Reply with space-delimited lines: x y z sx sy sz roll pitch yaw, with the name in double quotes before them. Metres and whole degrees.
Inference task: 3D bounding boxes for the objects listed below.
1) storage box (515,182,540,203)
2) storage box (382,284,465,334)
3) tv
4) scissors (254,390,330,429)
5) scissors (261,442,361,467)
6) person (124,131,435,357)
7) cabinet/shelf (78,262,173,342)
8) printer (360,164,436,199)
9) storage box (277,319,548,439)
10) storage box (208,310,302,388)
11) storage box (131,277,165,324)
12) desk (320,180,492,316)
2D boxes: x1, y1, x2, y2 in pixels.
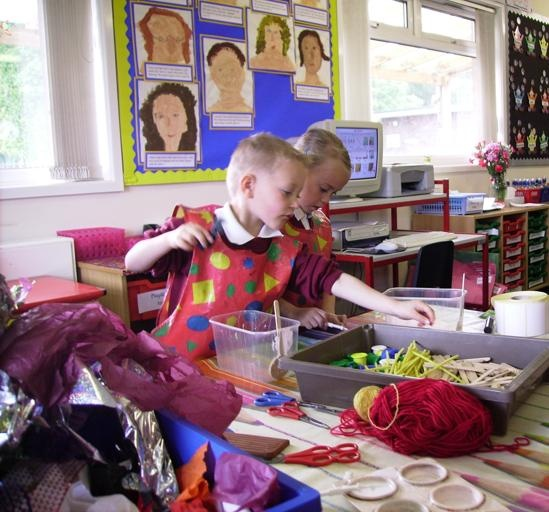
"storage box" 2.545 -0.649 4.318 0.281 0.172 0.209 -11 16 -30
"storage box" 0.417 0.144 1.182 0.186 0.065 0.125 1 8 17
"tv" 0.392 -0.628 2.877 0.508 0.522 0.544 -2 12 -3
"scissors" 0.026 0.274 0.800 0.046 0.010 0.122 -12 16 -40
"scissors" 0.070 0.297 0.636 0.077 0.005 0.043 -4 5 -18
"person" 0.058 -0.192 1.650 0.928 1.236 0.486 7 21 14
"cabinet/shelf" -0.697 0.172 2.202 0.323 0.412 0.447 7 12 30
"printer" 0.894 -0.519 2.921 0.394 0.182 0.281 -14 13 -42
"storage box" 0.289 0.220 0.864 0.453 0.109 0.316 4 14 29
"storage box" -0.052 0.202 0.999 0.190 0.115 0.138 4 8 44
"storage box" -0.615 0.205 2.034 0.223 0.144 0.162 -9 15 -35
"desk" 0.773 -0.062 2.521 0.515 0.783 0.969 5 12 39
